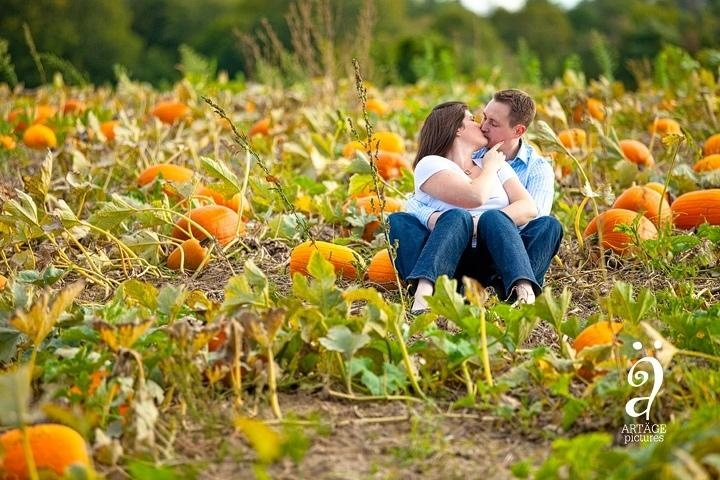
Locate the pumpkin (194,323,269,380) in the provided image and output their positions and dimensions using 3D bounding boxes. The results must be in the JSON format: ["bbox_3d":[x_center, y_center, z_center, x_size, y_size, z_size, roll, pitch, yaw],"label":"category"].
[{"bbox_3d":[-0.544,0.463,2.955,0.255,0.181,0.312,2,9,3],"label":"pumpkin"}]

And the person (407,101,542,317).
[{"bbox_3d":[0.586,-0.212,3.759,0.684,1.019,0.769,0,7,3],"label":"person"}]

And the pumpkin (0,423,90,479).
[{"bbox_3d":[-1.208,0.824,2.824,0.386,0.198,0.185,0,7,-1],"label":"pumpkin"}]

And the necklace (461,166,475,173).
[{"bbox_3d":[0.578,-0.376,3.898,0.051,0.036,0.012,-42,10,-24],"label":"necklace"}]

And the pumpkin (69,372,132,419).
[{"bbox_3d":[-1.022,0.618,2.873,0.220,0.192,0.304,-3,7,-20],"label":"pumpkin"}]

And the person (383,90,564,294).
[{"bbox_3d":[0.636,-0.240,3.884,0.843,1.095,0.944,3,-3,-16],"label":"person"}]
